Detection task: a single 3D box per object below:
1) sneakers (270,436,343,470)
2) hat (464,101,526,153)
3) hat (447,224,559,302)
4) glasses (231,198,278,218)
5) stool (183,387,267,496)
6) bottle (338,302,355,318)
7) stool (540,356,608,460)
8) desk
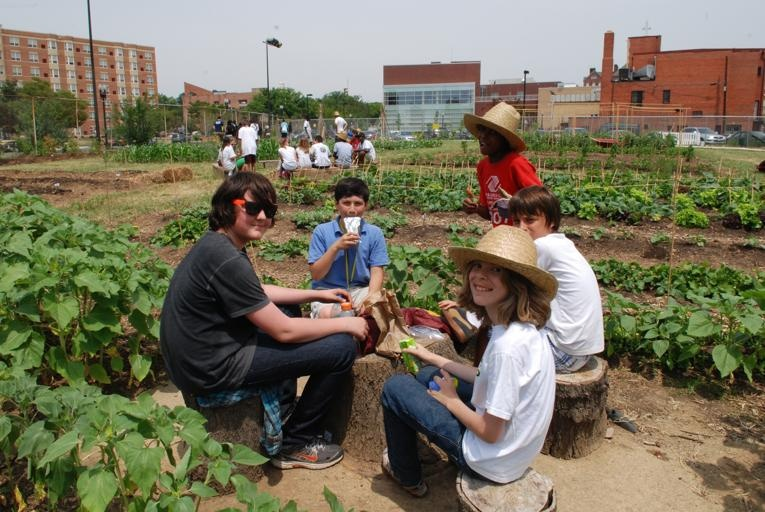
[{"bbox_3d":[-0.622,1.607,4.045,0.545,0.268,0.240,-3,15,-10],"label":"sneakers"},{"bbox_3d":[1.247,-1.426,5.517,0.668,0.535,0.777,0,13,6],"label":"hat"},{"bbox_3d":[0.810,0.134,3.232,0.597,0.238,0.495,31,-25,-15],"label":"hat"},{"bbox_3d":[-0.969,-0.368,3.822,0.128,0.181,0.361,11,18,42],"label":"glasses"},{"bbox_3d":[-1.131,1.481,4.178,0.711,0.823,0.734,-1,5,11],"label":"stool"},{"bbox_3d":[-0.314,0.456,4.249,0.121,0.144,0.125,-1,3,-4],"label":"bottle"},{"bbox_3d":[1.630,1.270,4.493,0.608,0.667,0.730,3,20,11],"label":"stool"},{"bbox_3d":[0.109,1.181,4.497,1.146,0.902,0.884,3,4,12],"label":"desk"}]
